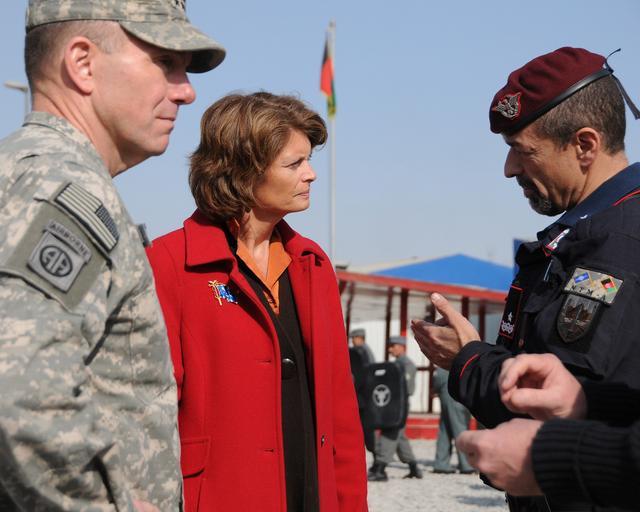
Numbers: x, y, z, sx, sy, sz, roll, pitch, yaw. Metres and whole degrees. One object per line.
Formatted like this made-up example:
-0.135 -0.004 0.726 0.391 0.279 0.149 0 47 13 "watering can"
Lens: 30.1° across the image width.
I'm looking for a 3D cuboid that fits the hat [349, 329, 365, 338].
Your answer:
0.625 1.253 19.846 0.148 0.162 0.185 -1 0 3 "hat"
